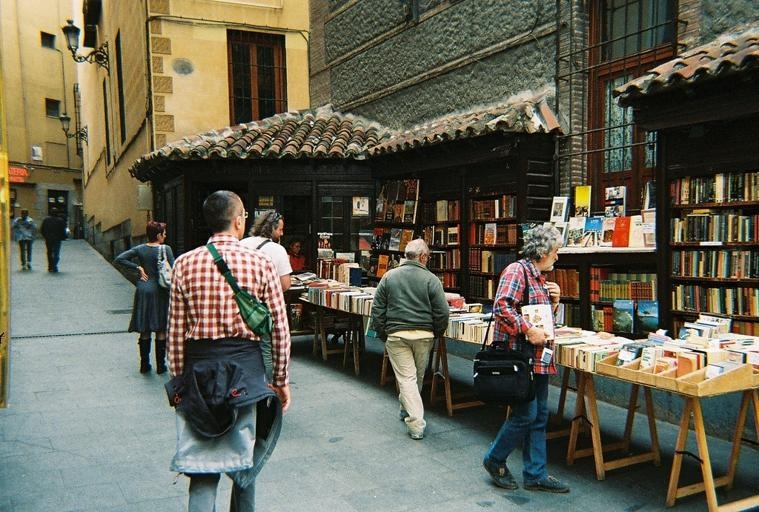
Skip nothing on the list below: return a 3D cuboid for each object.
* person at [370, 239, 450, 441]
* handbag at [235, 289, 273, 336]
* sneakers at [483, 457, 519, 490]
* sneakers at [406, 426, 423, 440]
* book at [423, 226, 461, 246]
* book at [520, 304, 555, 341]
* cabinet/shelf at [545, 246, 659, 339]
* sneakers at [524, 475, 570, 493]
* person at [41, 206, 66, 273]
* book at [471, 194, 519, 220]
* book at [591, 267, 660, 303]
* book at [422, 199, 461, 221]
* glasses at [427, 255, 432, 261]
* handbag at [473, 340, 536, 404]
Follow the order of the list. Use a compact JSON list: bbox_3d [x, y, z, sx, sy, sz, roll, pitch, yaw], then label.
[{"bbox_3d":[0.459,0.985,8.179,0.704,2.332,0.950,-6,12,-34],"label":"person"},{"bbox_3d":[-1.182,0.496,5.618,0.171,0.206,0.357,21,-24,17],"label":"handbag"},{"bbox_3d":[1.258,2.293,6.910,0.431,0.173,0.212,23,13,40],"label":"sneakers"},{"bbox_3d":[0.465,2.149,7.910,0.213,0.120,0.211,-1,9,-10],"label":"sneakers"},{"bbox_3d":[1.170,-0.384,11.852,0.664,0.330,0.660,-2,5,6],"label":"book"},{"bbox_3d":[1.660,0.683,6.758,0.340,0.361,0.183,0,10,0],"label":"book"},{"bbox_3d":[3.236,0.597,9.424,0.476,1.252,1.442,-17,10,-39],"label":"cabinet/shelf"},{"bbox_3d":[1.763,2.396,6.777,0.432,0.167,0.177,-1,-1,4],"label":"sneakers"},{"bbox_3d":[-9.662,-0.338,19.102,0.577,1.600,0.809,-5,11,-27],"label":"person"},{"bbox_3d":[1.921,-0.815,10.806,0.235,0.461,1.052,-4,10,-24],"label":"book"},{"bbox_3d":[3.408,0.430,9.008,0.842,0.420,0.464,1,2,36],"label":"book"},{"bbox_3d":[1.167,-0.860,11.852,0.390,0.380,0.215,-12,12,22],"label":"book"},{"bbox_3d":[0.791,0.022,10.316,0.101,0.119,0.124,2,-3,1],"label":"glasses"},{"bbox_3d":[1.322,1.205,6.816,0.721,0.656,0.403,-6,-12,34],"label":"handbag"}]
